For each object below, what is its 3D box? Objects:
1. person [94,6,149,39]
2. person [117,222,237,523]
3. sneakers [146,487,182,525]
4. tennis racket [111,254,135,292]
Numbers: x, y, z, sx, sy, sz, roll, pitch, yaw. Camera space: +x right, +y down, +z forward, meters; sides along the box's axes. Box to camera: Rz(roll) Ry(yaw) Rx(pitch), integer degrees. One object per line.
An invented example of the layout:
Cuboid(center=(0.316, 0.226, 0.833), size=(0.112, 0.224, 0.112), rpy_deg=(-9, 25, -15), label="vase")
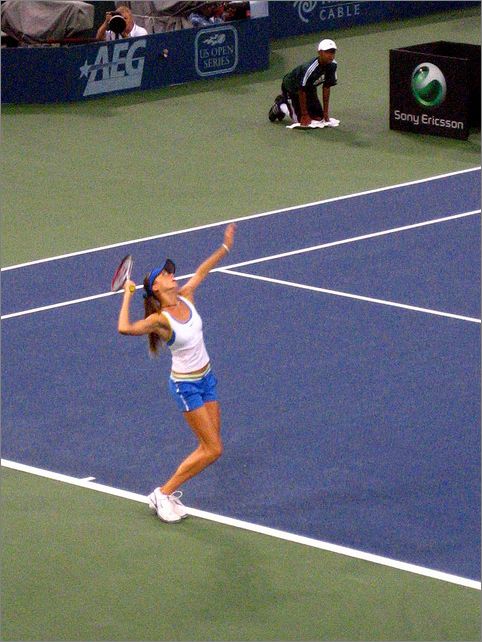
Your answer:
Cuboid(center=(-2.769, -6.878, 16.185), size=(1.445, 0.613, 1.124), rpy_deg=(16, 36, 38), label="person")
Cuboid(center=(-0.466, 0.373, 4.938), size=(0.552, 1.594, 1.169), rpy_deg=(-7, 25, -3), label="person")
Cuboid(center=(-0.525, 1.246, 4.803), size=(0.134, 0.142, 0.288), rpy_deg=(-6, 28, -44), label="sneakers")
Cuboid(center=(-0.819, -0.273, 4.805), size=(0.078, 0.299, 0.192), rpy_deg=(9, 58, -10), label="tennis racket")
